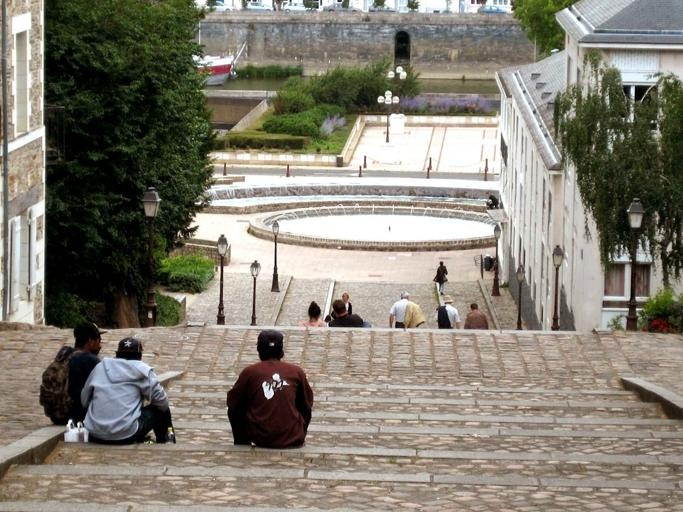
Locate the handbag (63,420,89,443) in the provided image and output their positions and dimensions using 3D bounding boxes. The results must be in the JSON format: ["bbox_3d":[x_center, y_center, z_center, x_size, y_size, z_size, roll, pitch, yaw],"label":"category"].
[{"bbox_3d":[-2.882,1.911,12.838,0.169,0.109,0.294,2,4,-5],"label":"handbag"}]

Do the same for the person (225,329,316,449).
[{"bbox_3d":[-0.791,1.460,12.938,0.923,1.280,0.310,1,6,-5],"label":"person"}]

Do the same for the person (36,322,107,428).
[{"bbox_3d":[-2.939,1.311,13.477,0.834,1.100,0.808,-1,1,-31],"label":"person"}]

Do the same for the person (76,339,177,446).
[{"bbox_3d":[-2.388,1.522,13.395,1.409,1.184,1.218,3,-1,-39],"label":"person"}]
